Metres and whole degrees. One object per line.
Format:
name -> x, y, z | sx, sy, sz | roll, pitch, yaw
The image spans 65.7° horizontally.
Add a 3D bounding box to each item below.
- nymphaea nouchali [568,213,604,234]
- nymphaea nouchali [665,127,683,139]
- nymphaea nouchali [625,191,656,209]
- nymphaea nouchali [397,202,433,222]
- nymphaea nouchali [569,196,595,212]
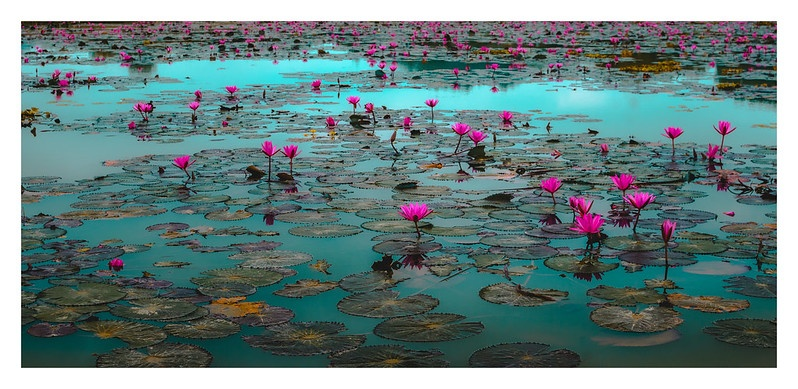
nymphaea nouchali -> 2.612, 0.389, 8.348 | 0.386, 0.171, 0.477 | 2, 14, 42
nymphaea nouchali -> 4.843, -1.073, 10.799 | 0.366, 0.209, 0.183 | -13, 16, -42
nymphaea nouchali -> 3.373, 0.078, 8.642 | 0.550, 0.172, 0.338 | -2, 7, 8
nymphaea nouchali -> 0.244, 0.260, 8.639 | 0.391, 0.317, 0.488 | -4, 12, -1
nymphaea nouchali -> 2.552, 0.147, 8.577 | 0.385, 0.152, 0.338 | 0, 10, 14
